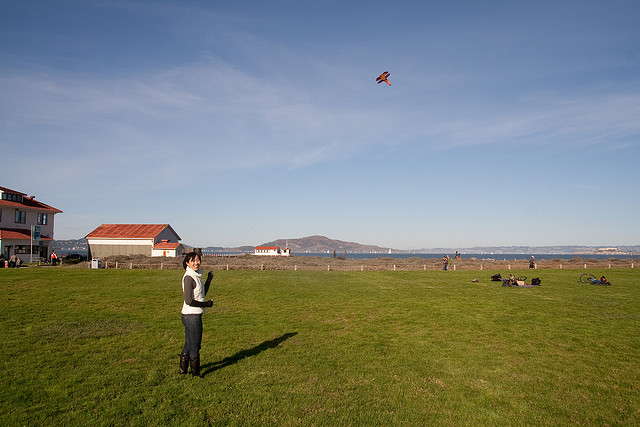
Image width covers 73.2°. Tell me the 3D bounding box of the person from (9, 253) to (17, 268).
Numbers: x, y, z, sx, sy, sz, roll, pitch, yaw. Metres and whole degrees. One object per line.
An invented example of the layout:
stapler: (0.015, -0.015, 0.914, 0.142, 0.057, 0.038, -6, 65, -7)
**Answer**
person: (-34.287, 5.409, 48.314, 0.522, 0.954, 2.166, -6, 14, -27)

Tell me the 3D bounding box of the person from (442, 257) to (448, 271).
person: (14.718, 5.870, 50.529, 0.415, 1.827, 1.329, 7, 15, 21)

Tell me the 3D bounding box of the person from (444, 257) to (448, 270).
person: (14.768, 5.859, 50.519, 0.321, 1.780, 1.281, 7, 15, 20)

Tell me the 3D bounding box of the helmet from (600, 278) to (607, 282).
helmet: (22.076, 5.129, 33.576, 0.570, 0.358, 0.364, -7, 15, -31)
